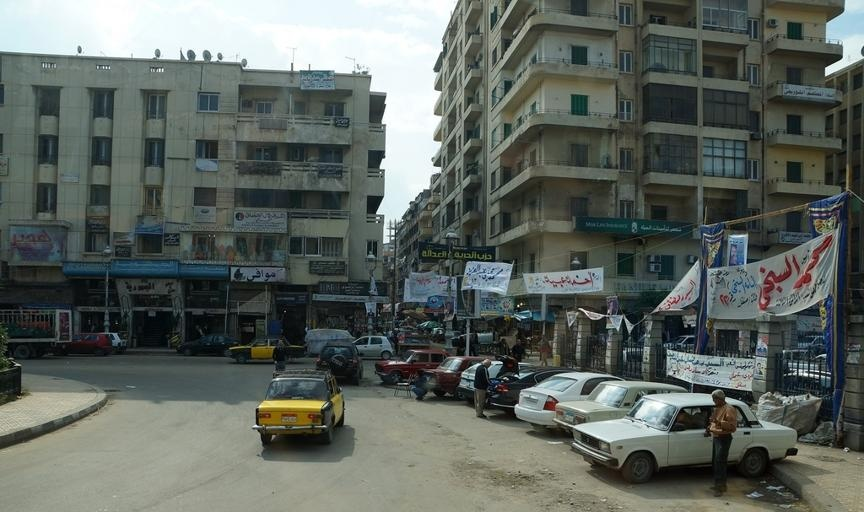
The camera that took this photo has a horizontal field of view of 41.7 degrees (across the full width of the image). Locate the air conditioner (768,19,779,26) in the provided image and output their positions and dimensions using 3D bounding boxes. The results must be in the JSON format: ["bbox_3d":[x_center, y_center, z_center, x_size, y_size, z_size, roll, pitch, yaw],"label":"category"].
[{"bbox_3d":[31.282,-21.616,105.064,1.034,0.686,0.603,-2,-1,39],"label":"air conditioner"}]

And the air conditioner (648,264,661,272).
[{"bbox_3d":[19.854,0.987,102.711,1.286,0.812,0.672,0,-2,-12],"label":"air conditioner"}]

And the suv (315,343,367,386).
[{"bbox_3d":[-6.525,7.585,81.860,2.678,2.360,6.032,0,-3,-3],"label":"suv"}]

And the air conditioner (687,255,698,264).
[{"bbox_3d":[23.355,0.222,103.253,0.910,0.878,0.472,0,-5,15],"label":"air conditioner"}]

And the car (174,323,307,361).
[{"bbox_3d":[-15.384,7.486,92.589,9.051,2.026,3.829,3,-5,-2],"label":"car"}]
